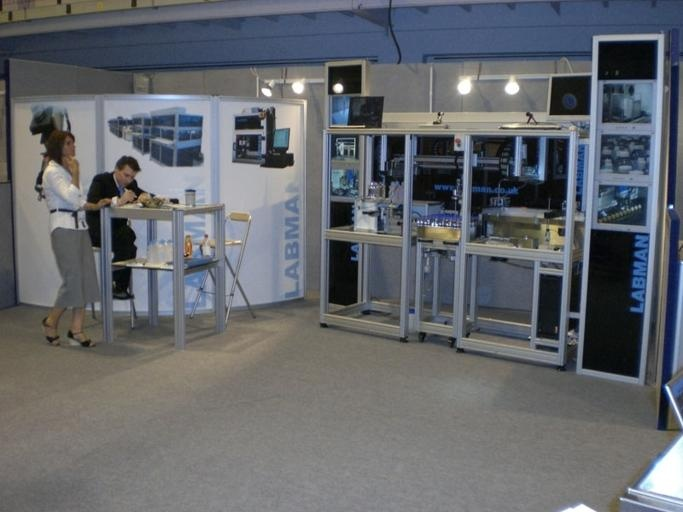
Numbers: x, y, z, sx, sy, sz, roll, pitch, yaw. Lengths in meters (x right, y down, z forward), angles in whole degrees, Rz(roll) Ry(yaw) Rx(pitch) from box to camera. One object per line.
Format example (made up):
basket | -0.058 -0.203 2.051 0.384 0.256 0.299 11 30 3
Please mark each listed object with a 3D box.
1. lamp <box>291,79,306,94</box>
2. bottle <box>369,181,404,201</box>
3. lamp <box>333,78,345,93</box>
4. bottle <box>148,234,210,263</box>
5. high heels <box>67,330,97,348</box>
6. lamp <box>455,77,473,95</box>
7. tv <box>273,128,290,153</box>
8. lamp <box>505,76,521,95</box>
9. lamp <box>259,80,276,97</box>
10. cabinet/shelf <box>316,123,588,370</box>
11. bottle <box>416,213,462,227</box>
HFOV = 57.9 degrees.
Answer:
lamp | -0.561 -2.269 8.231 0.142 0.193 0.336 -4 16 17
bottle | 0.491 -0.796 7.492 0.327 0.208 0.321 0 5 0
lamp | -0.034 -1.959 7.129 0.126 0.139 0.144 16 12 6
bottle | -1.843 -0.061 6.737 0.401 0.149 0.390 0 10 0
high heels | -2.779 0.889 6.635 0.358 0.167 0.150 8 13 24
lamp | 1.499 -2.058 7.489 0.203 0.213 0.344 3 14 10
tv | -0.767 -1.469 7.804 0.293 0.376 0.036 -8 13 -43
lamp | 2.034 -2.019 7.321 0.173 0.222 0.331 3 14 14
lamp | -1.010 -2.314 8.559 0.155 0.206 0.365 -7 16 -27
cabinet/shelf | 1.268 -0.150 6.866 2.425 2.115 0.892 5 8 32
bottle | 1.042 -0.384 6.645 0.474 0.104 0.316 2 14 8
